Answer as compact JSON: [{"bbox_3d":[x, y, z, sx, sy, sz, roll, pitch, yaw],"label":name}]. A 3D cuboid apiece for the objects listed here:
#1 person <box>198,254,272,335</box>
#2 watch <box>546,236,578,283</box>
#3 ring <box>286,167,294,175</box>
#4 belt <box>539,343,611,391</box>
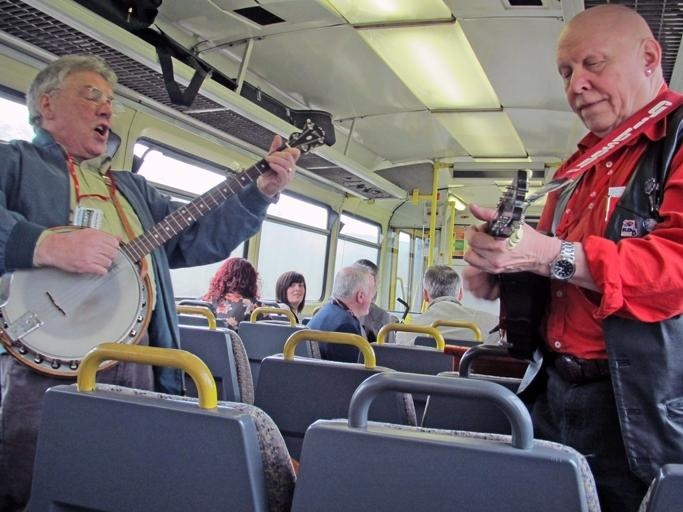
[{"bbox_3d":[-1.190,0.434,5.460,0.595,0.780,0.341,1,-30,15],"label":"person"},{"bbox_3d":[0.665,0.021,1.453,0.072,0.107,0.115,13,7,12],"label":"watch"},{"bbox_3d":[-0.293,-0.485,2.767,0.036,0.034,0.014,0,-3,-29],"label":"ring"},{"bbox_3d":[0.806,0.378,1.663,0.223,0.113,0.321,-3,-5,36],"label":"belt"}]
